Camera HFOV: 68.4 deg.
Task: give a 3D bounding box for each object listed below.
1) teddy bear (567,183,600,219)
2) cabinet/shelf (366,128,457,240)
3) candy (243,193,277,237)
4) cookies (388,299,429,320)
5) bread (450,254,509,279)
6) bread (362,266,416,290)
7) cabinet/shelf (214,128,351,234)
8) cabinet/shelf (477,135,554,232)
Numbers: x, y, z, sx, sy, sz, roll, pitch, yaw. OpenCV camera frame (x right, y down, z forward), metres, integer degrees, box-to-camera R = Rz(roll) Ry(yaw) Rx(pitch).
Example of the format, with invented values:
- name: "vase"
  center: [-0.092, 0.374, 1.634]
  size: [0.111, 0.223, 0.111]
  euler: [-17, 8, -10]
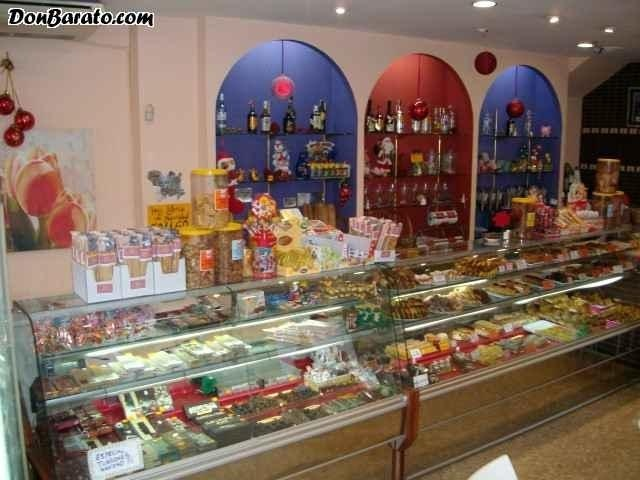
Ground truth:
- name: "teddy bear"
  center: [2.477, -0.366, 4.435]
  size: [0.171, 0.223, 0.161]
  euler: [12, -1, -33]
- name: "cabinet/shelf"
  center: [1.210, -0.788, 6.260]
  size: [1.565, 1.745, 0.515]
  euler: [-2, 3, -27]
- name: "candy"
  center: [-0.382, -0.162, 3.005]
  size: [0.210, 0.260, 0.394]
  euler: [-5, 9, -7]
- name: "cookies"
  center: [0.589, 0.440, 3.109]
  size: [0.233, 0.068, 0.167]
  euler: [-6, 17, -22]
- name: "bread"
  center: [1.177, 0.194, 3.545]
  size: [0.198, 0.096, 0.272]
  euler: [-2, 6, -14]
- name: "bread"
  center: [0.456, 0.247, 3.005]
  size: [0.195, 0.083, 0.275]
  euler: [8, 7, 37]
- name: "cabinet/shelf"
  center: [-0.393, -0.692, 5.016]
  size: [1.381, 1.150, 0.391]
  euler: [-1, 3, -21]
- name: "cabinet/shelf"
  center: [2.635, -0.802, 6.447]
  size: [1.579, 1.396, 0.449]
  euler: [-1, 2, -20]
